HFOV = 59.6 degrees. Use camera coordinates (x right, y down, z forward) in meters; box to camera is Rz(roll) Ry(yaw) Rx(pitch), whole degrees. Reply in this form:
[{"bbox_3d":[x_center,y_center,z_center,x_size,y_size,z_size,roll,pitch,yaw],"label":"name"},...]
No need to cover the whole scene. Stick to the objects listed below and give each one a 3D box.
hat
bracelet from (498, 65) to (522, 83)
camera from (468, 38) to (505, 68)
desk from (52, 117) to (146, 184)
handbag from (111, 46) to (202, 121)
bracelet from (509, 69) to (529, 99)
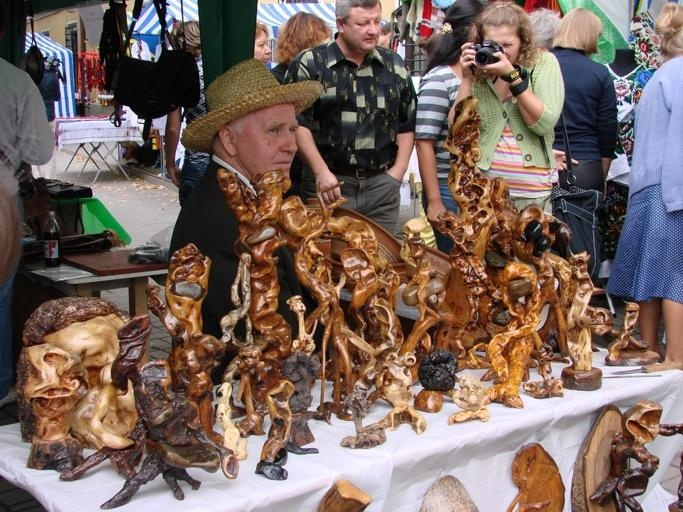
[{"bbox_3d":[-0.332,-0.560,2.198,0.534,0.321,0.329,-4,10,-7],"label":"hat"},{"bbox_3d":[0.803,-0.859,2.843,0.085,0.040,0.075,-21,-15,-21],"label":"bracelet"},{"bbox_3d":[0.657,-0.946,2.766,0.141,0.085,0.110,-4,25,28],"label":"camera"},{"bbox_3d":[-5.735,-2.446,14.039,1.634,1.398,4.691,-7,10,-22],"label":"desk"},{"bbox_3d":[-1.280,-1.193,4.164,0.443,0.497,0.376,15,21,43],"label":"handbag"},{"bbox_3d":[0.845,-0.825,2.854,0.052,0.113,0.085,6,-14,2],"label":"bracelet"}]
